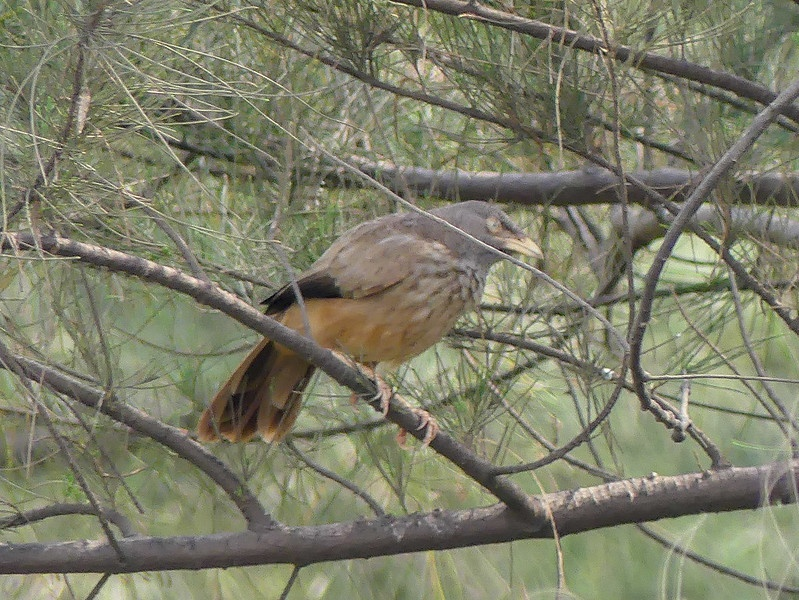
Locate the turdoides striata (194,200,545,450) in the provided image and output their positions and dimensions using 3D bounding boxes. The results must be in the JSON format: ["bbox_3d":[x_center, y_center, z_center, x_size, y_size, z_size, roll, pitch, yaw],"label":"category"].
[{"bbox_3d":[-0.118,0.068,4.309,1.282,0.901,0.577,-1,-13,25],"label":"turdoides striata"}]
